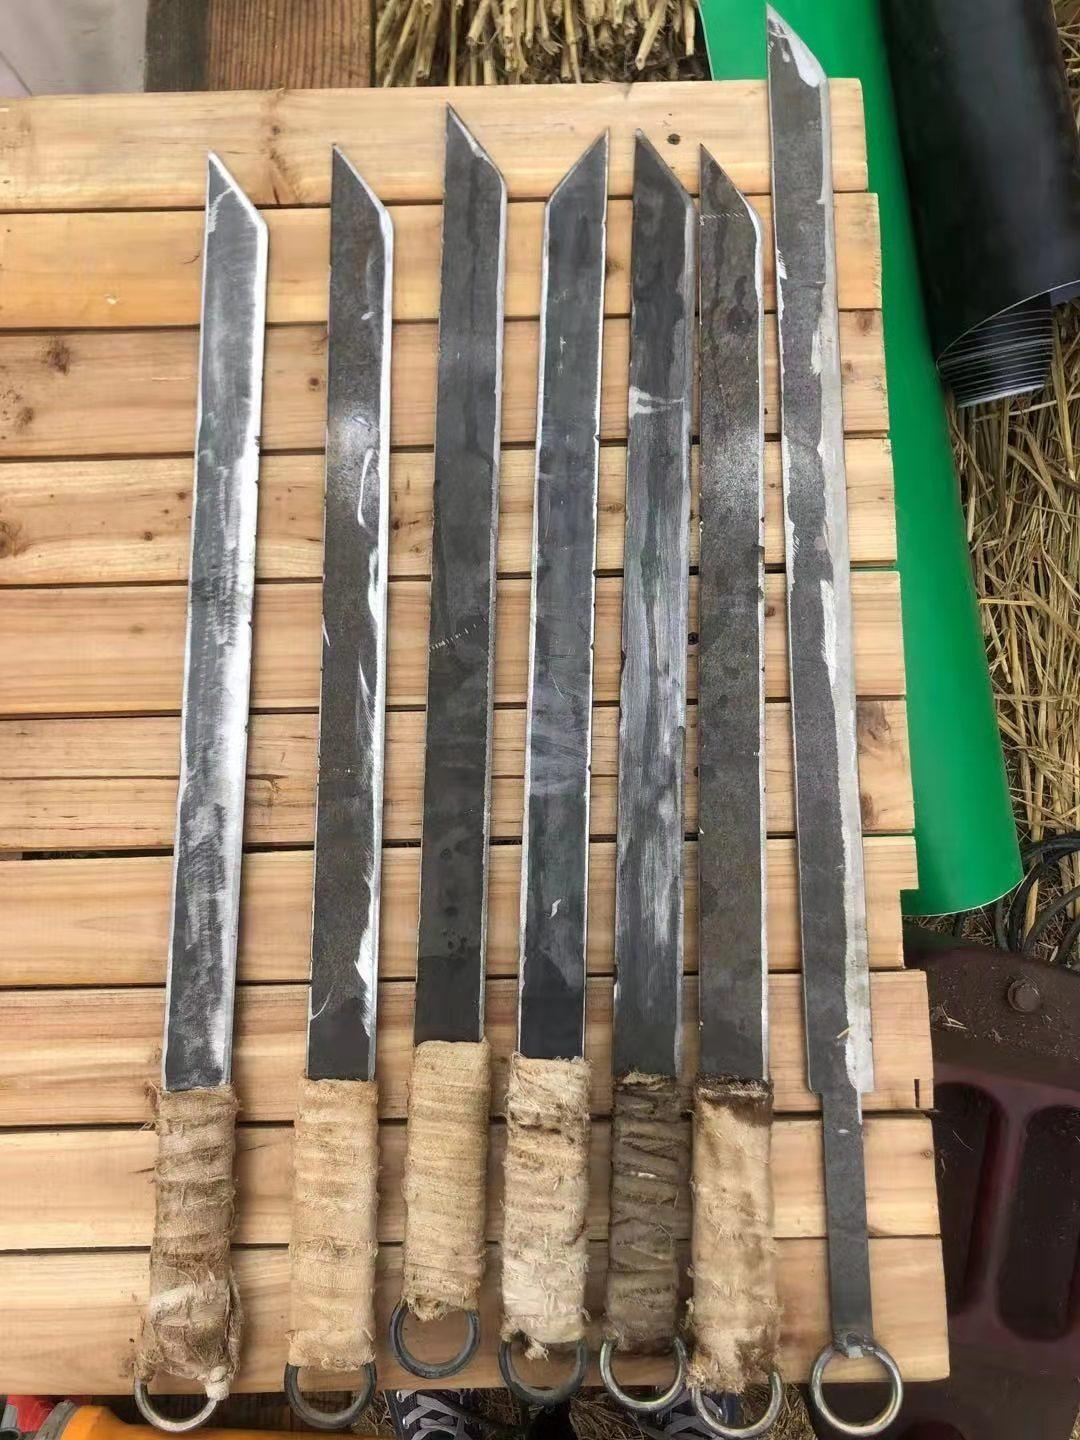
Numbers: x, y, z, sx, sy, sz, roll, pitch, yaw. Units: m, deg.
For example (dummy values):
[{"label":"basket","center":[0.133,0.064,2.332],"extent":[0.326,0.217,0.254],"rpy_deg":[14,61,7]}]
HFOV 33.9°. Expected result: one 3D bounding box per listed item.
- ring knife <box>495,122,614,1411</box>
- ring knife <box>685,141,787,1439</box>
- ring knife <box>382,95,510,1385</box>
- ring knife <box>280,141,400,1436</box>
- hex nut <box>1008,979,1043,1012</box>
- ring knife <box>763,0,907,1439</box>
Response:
[{"label":"ring knife","center":[0.014,0.034,1.926],"extent":[0.096,0.077,1.311],"rpy_deg":[-1,79,0]},{"label":"ring knife","center":[0.185,0.055,1.901],"extent":[0.125,0.119,1.218],"rpy_deg":[0,79,-1]},{"label":"ring knife","center":[-0.096,0.000,1.927],"extent":[0.095,0.067,1.352],"rpy_deg":[-1,79,2]},{"label":"ring knife","center":[-0.221,0.048,1.916],"extent":[0.094,0.065,1.354],"rpy_deg":[-1,82,0]},{"label":"hex nut","center":[0.566,0.322,2.077],"extent":[0.039,0.015,0.037],"rpy_deg":[1,71,-2]},{"label":"ring knife","center":[0.319,-0.077,1.981],"extent":[0.118,0.034,1.636],"rpy_deg":[2,79,-5]}]
